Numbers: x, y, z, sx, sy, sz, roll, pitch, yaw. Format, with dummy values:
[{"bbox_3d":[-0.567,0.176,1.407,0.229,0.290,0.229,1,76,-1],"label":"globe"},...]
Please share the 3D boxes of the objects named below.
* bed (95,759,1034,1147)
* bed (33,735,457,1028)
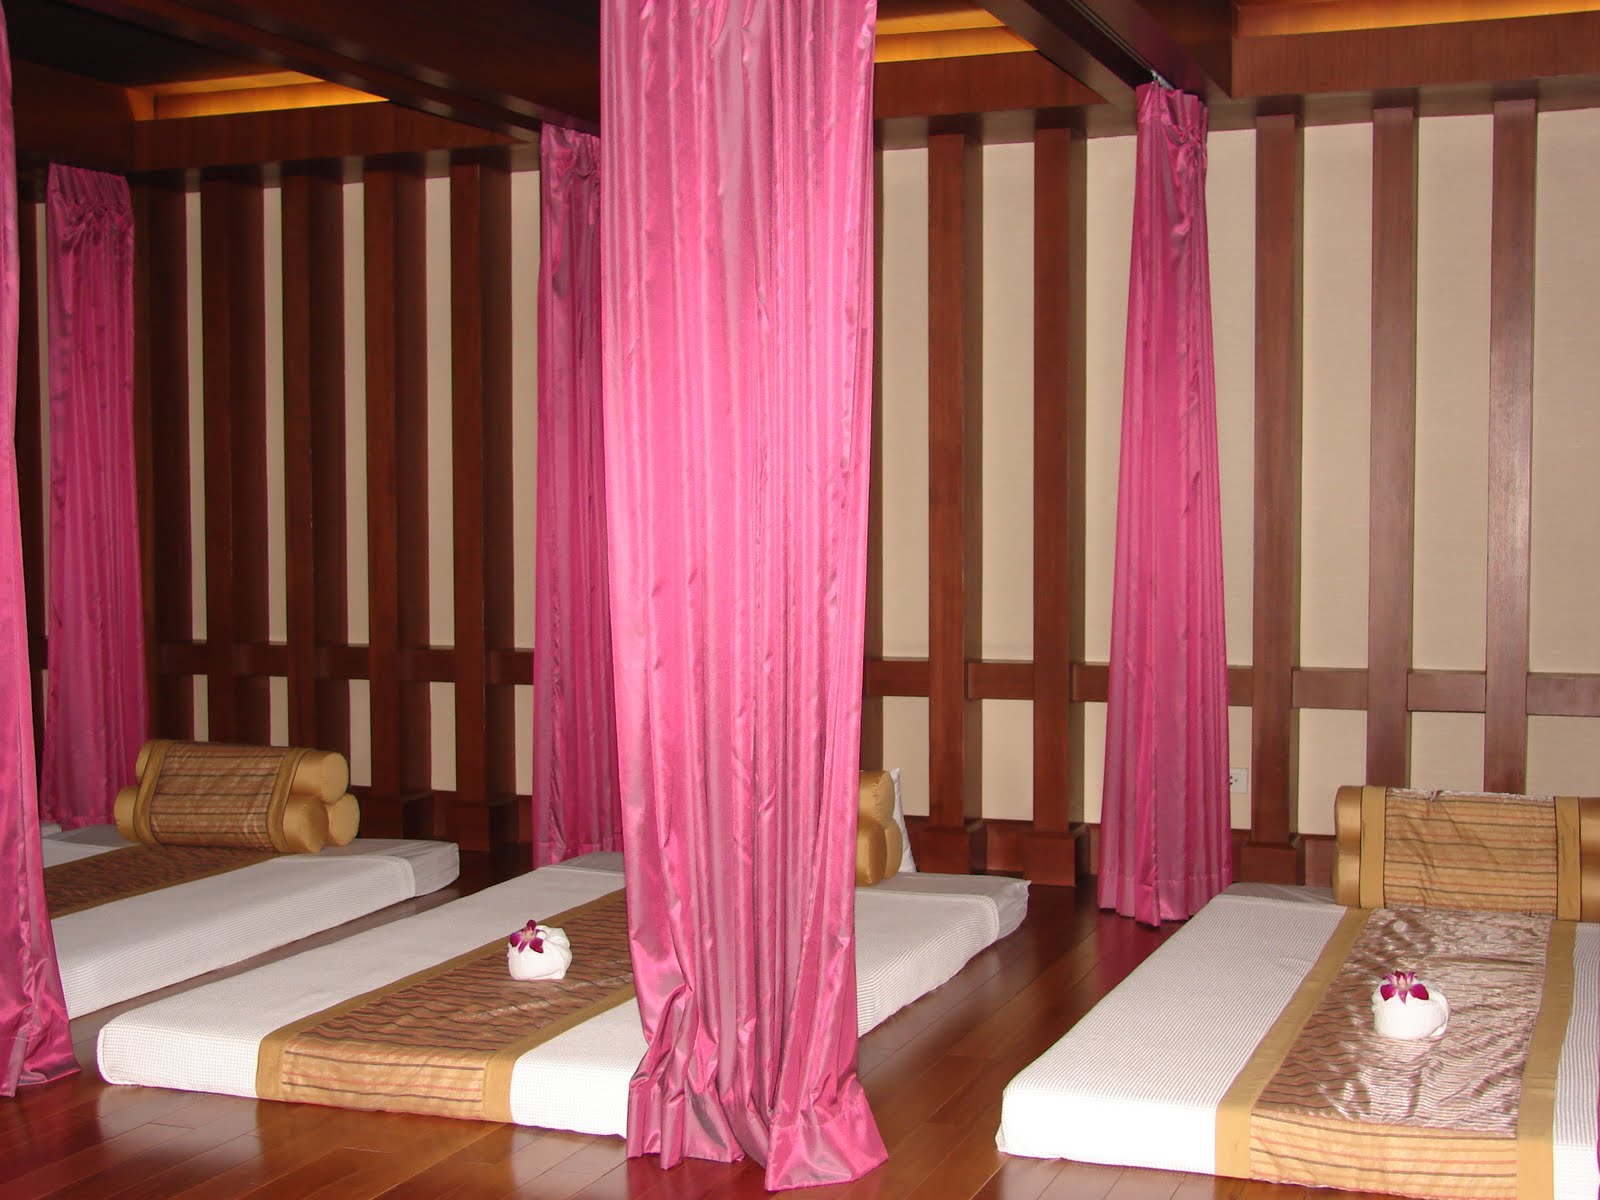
[{"bbox_3d":[-0.688,1.200,4.477,1.677,0.456,2.534,9,18,43],"label":"bed"},{"bbox_3d":[-2.118,1.018,5.273,0.915,0.287,0.949,4,5,25],"label":"bed"}]
